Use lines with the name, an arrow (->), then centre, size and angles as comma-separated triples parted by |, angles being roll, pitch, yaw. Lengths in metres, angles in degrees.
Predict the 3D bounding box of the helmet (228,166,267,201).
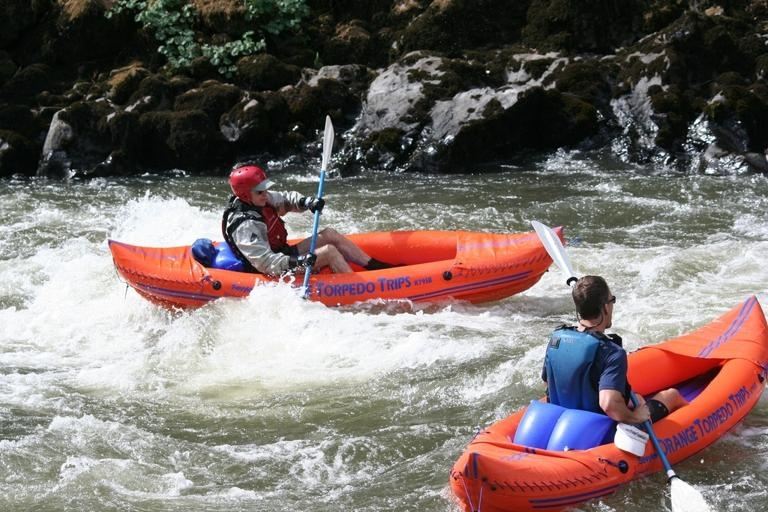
helmet -> -1.741, -0.914, 12.987 | 0.564, 0.446, 0.409 | -7, 25, 1

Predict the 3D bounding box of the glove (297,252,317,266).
glove -> -0.980, 0.056, 12.754 | 0.220, 0.163, 0.086 | 1, 8, -6

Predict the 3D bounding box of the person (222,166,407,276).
person -> -1.222, -0.447, 13.036 | 1.733, 1.366, 0.854 | 0, 8, -9

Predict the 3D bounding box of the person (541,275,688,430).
person -> 2.191, 1.003, 10.418 | 1.059, 1.570, 0.326 | 3, 8, 8
